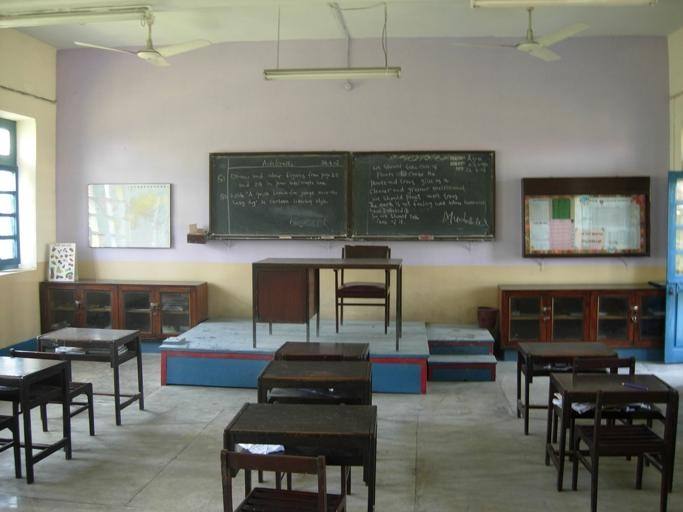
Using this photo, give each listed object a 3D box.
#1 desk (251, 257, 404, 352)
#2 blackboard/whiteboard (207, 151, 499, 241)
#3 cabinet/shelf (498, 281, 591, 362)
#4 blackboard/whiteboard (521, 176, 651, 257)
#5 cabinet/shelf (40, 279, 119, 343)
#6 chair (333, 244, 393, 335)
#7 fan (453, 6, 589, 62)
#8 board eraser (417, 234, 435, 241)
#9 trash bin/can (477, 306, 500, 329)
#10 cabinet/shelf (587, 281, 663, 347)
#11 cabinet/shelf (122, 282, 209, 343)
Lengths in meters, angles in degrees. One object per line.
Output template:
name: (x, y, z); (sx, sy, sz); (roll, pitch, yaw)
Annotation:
desk: (-0.149, 0.508, 6.707); (1.541, 0.875, 0.613); (0, 2, 2)
blackboard/whiteboard: (0.137, -0.765, 7.682); (3.490, 1.139, 0.221); (-1, 3, 2)
cabinet/shelf: (2.481, 0.859, 7.367); (1.068, 0.878, 0.386); (-3, -21, 26)
blackboard/whiteboard: (2.942, -0.460, 7.457); (1.445, 0.989, 0.070); (0, -1, 11)
cabinet/shelf: (-3.299, 0.755, 7.892); (1.010, 0.847, 0.375); (1, 4, 3)
chair: (0.260, 0.341, 7.050); (0.831, 0.984, 0.816); (0, -1, 44)
fan: (2.062, -2.281, 6.440); (0.768, 0.280, 0.767); (-3, 4, -7)
board eraser: (1.056, -0.243, 7.615); (0.206, 0.078, 0.053); (-1, 3, 7)
trash bin/can: (1.803, 0.756, 7.515); (0.256, 0.279, 0.316); (-1, 3, 13)
cabinet/shelf: (3.478, 0.731, 7.391); (0.931, 0.804, 0.370); (-2, 9, 8)
cabinet/shelf: (-2.299, 0.699, 7.754); (1.010, 0.740, 0.386); (1, 6, 4)
